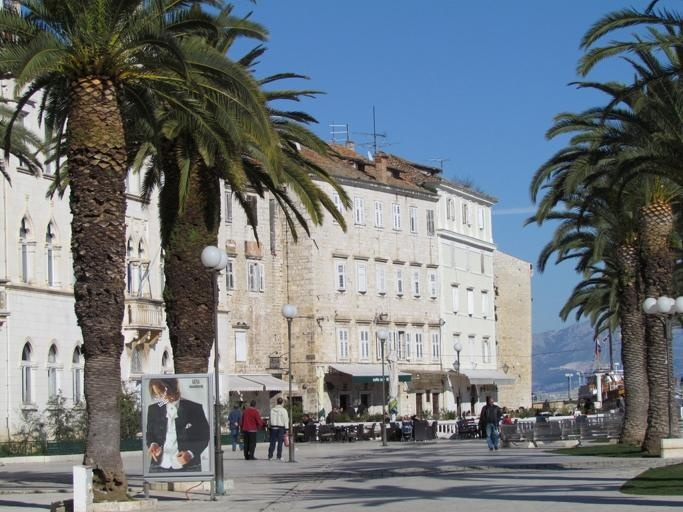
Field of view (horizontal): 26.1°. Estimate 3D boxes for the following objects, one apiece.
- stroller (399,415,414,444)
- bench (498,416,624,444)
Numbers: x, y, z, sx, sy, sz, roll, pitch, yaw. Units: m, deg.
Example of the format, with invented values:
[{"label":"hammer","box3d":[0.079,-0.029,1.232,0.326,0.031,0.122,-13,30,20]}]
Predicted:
[{"label":"stroller","box3d":[2.629,6.936,58.789,0.655,0.940,0.680,0,-9,0]},{"label":"bench","box3d":[7.477,5.879,49.555,3.922,0.918,1.263,1,-14,-17]}]
